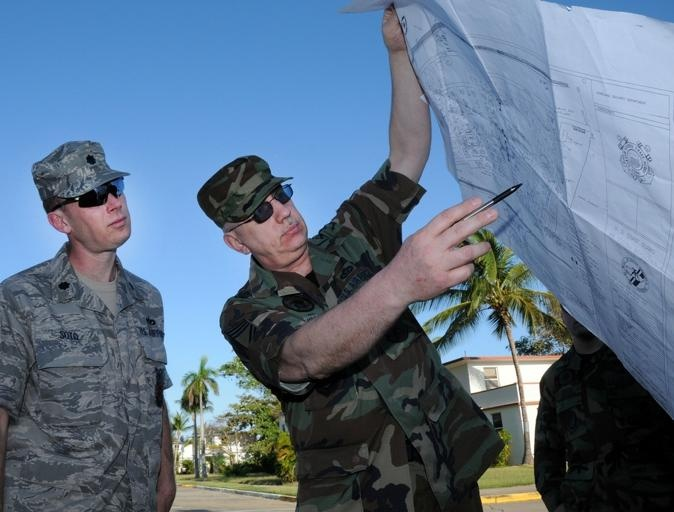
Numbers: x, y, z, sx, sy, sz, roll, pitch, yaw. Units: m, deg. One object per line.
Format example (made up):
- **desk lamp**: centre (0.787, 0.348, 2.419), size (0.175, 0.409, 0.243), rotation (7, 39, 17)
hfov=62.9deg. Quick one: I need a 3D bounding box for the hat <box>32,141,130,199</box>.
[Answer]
- **hat**: centre (-1.392, -0.425, 2.903), size (0.462, 0.255, 0.378), rotation (-23, 8, 37)
